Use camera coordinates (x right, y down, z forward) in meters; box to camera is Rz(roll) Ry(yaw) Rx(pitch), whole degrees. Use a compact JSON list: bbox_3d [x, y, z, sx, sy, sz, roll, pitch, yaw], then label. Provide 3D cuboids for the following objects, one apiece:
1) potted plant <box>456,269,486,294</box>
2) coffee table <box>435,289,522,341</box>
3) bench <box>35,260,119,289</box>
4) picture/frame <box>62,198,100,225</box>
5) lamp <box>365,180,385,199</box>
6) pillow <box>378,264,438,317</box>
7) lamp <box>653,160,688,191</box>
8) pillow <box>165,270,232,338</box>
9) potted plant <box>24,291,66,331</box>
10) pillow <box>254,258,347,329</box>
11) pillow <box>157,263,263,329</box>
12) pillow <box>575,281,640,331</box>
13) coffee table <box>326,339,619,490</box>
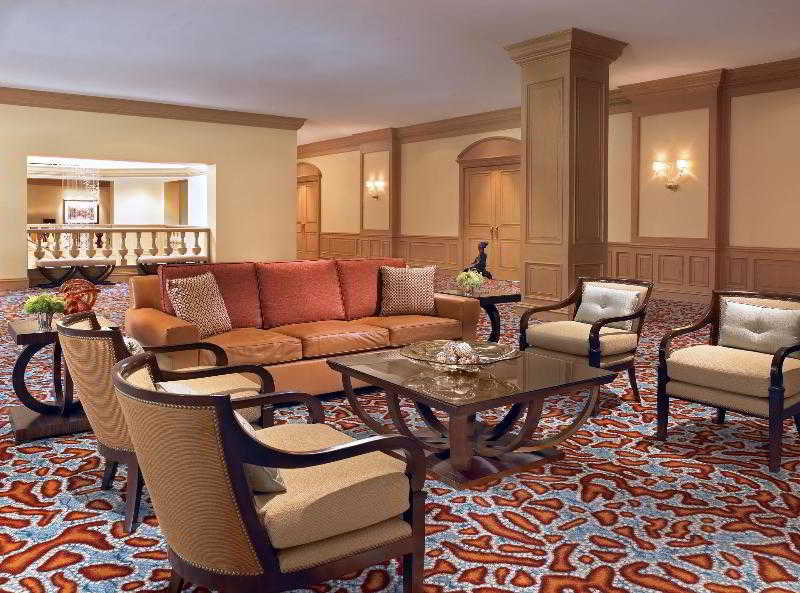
[{"bbox_3d":[0.713,-0.142,5.335,0.303,0.160,0.280,-5,9,-31],"label":"potted plant"},{"bbox_3d":[0.883,0.173,5.481,0.809,0.536,0.710,-3,5,-25],"label":"coffee table"},{"bbox_3d":[-6.019,-0.461,10.396,0.550,0.531,1.330,10,14,37],"label":"bench"},{"bbox_3d":[-9.326,-2.523,16.338,1.257,0.673,0.068,0,2,-12],"label":"picture/frame"},{"bbox_3d":[-0.588,-2.575,13.350,0.622,0.433,0.177,8,14,38],"label":"lamp"},{"bbox_3d":[0.048,-0.041,4.961,0.685,0.413,0.204,0,-9,-3],"label":"pillow"},{"bbox_3d":[4.220,-1.913,8.734,0.639,0.438,0.276,5,18,45],"label":"lamp"},{"bbox_3d":[-1.447,0.061,4.059,0.166,0.419,0.539,-28,-8,31],"label":"pillow"},{"bbox_3d":[-2.403,0.092,3.807,0.334,0.234,0.274,5,6,22],"label":"potted plant"},{"bbox_3d":[-0.829,-0.016,4.587,0.807,0.495,0.172,-2,-11,-29],"label":"pillow"},{"bbox_3d":[-1.538,0.024,4.538,0.700,0.499,0.248,-4,-13,-42],"label":"pillow"},{"bbox_3d":[1.705,0.089,4.532,0.122,0.361,0.503,27,-9,-40],"label":"pillow"},{"bbox_3d":[0.344,0.551,3.145,1.106,0.356,1.079,-3,7,-42],"label":"coffee table"}]
